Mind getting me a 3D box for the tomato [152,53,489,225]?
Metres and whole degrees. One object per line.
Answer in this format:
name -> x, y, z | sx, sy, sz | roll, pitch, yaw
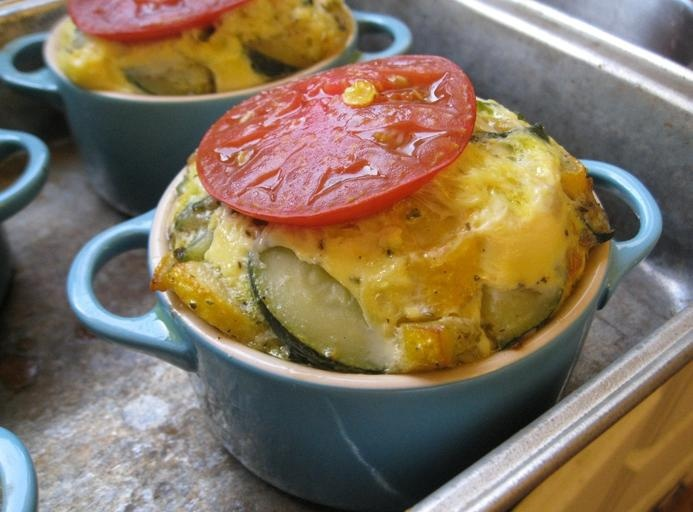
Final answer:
tomato -> -0.025, -0.124, 0.843 | 0.249, 0.081, 0.225 | 2, 43, 25
